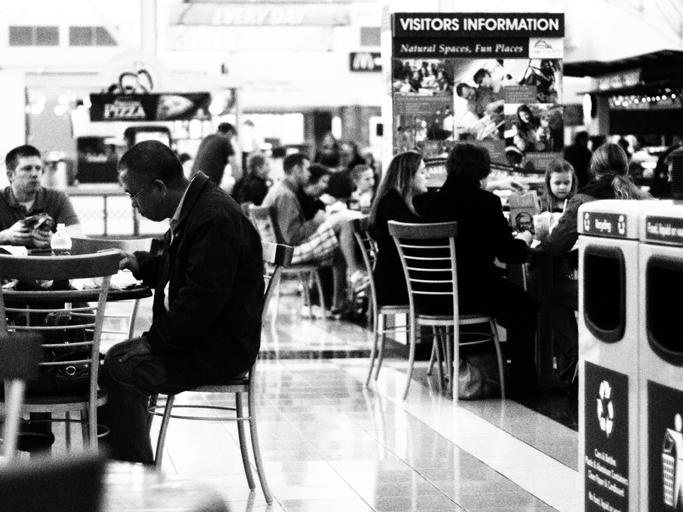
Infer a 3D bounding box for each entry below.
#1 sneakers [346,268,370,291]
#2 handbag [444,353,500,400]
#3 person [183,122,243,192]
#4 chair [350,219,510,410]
[{"bbox_3d":[0.163,0.243,9.280,0.231,0.223,0.094,4,1,12],"label":"sneakers"},{"bbox_3d":[0.859,0.784,6.095,0.297,0.318,0.253,0,-6,-38],"label":"handbag"},{"bbox_3d":[-1.342,-0.851,9.472,0.328,1.044,0.327,20,9,34],"label":"person"},{"bbox_3d":[0.597,0.326,6.146,0.999,1.157,1.088,0,4,1],"label":"chair"}]
